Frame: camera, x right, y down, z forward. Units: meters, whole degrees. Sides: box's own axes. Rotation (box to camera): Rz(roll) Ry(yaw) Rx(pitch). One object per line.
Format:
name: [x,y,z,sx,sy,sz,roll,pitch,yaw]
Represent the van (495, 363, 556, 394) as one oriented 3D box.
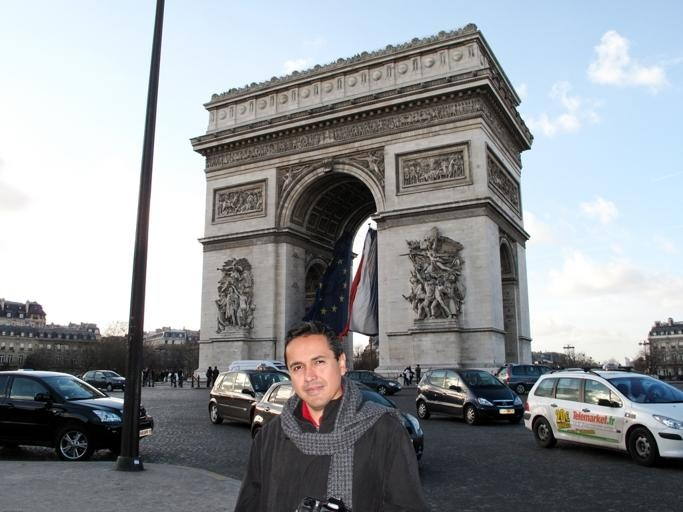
van: [8.971,6.297,27.549,3.090,1.193,1.770,-1,-8,-12]
